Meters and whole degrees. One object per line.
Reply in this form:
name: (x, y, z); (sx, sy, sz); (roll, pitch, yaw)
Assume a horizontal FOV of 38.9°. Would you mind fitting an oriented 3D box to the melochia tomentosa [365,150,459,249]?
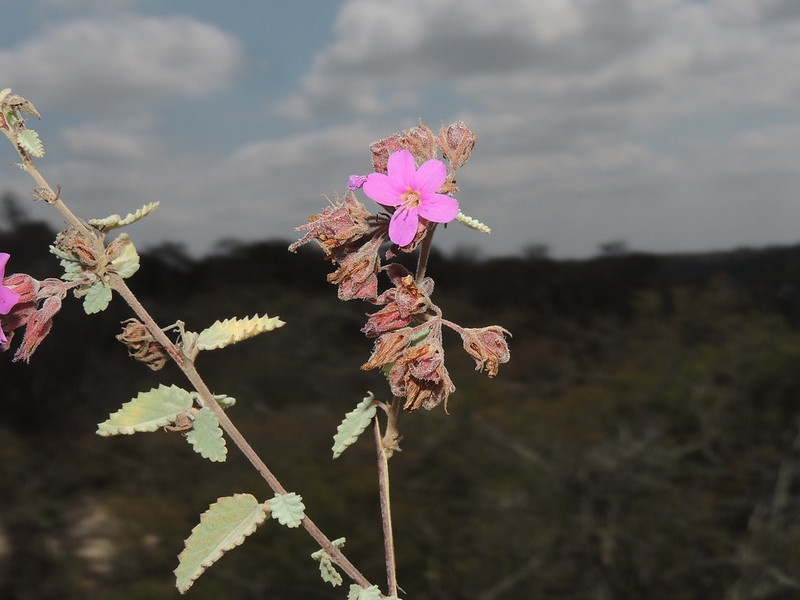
melochia tomentosa: (0.054, -0.476, 5.033); (0.413, 0.418, 0.145); (-26, 54, -9)
